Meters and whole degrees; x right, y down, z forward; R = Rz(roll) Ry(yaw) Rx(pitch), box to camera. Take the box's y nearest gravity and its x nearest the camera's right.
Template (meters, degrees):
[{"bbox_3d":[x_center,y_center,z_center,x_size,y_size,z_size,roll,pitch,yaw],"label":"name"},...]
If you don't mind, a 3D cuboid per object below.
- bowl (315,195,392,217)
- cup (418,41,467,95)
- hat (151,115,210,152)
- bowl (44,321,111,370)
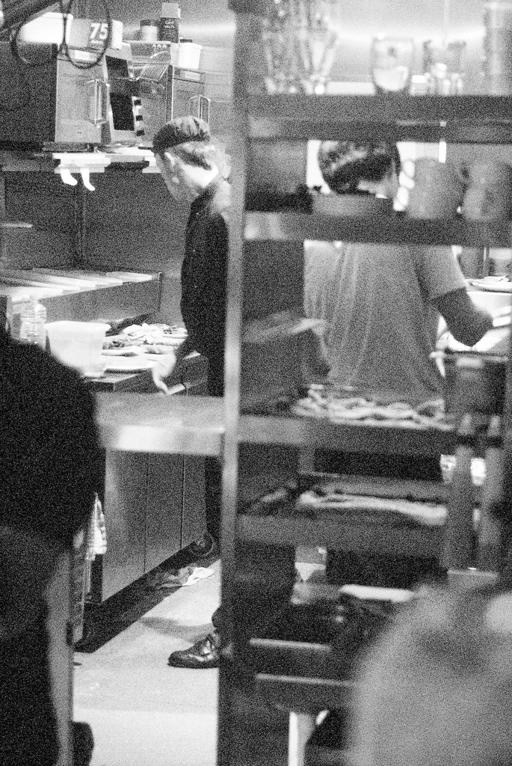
[{"bbox_3d":[0.094,-0.172,0.931,0.079,0.022,0.042,2,11,7],"label":"bowl"},{"bbox_3d":[0.179,-0.301,0.926,0.035,0.061,0.037,-8,2,0],"label":"cup"},{"bbox_3d":[-0.132,-0.425,1.645,0.079,0.036,0.065,-7,13,23],"label":"hat"},{"bbox_3d":[-0.240,-0.053,1.283,0.070,0.055,0.064,0,4,0],"label":"bowl"}]
